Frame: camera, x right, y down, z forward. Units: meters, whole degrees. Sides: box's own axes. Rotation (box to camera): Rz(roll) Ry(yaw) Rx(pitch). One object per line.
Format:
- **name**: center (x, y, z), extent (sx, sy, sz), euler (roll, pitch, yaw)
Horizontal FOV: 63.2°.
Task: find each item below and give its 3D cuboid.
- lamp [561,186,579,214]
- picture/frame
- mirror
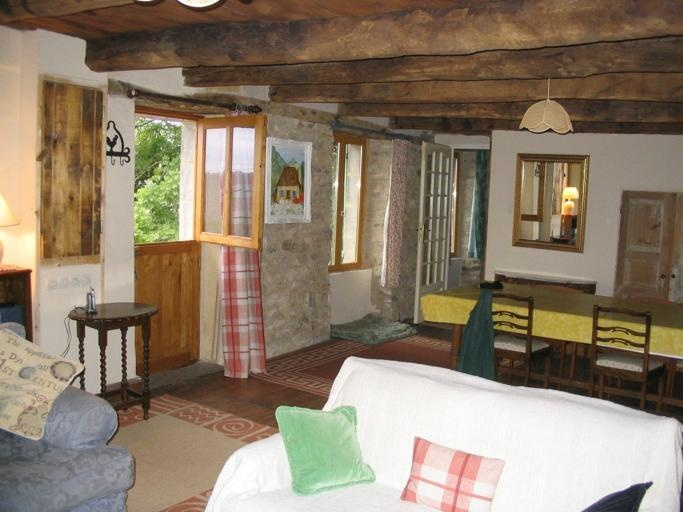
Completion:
- **lamp**: center (2.942, -0.712, 7.091), extent (0.282, 0.355, 0.286), euler (1, 0, 39)
- **picture/frame**: center (-0.606, -0.859, 6.171), extent (0.047, 1.061, 1.011), euler (8, 7, 34)
- **mirror**: center (2.780, -0.729, 7.206), extent (1.219, 1.689, 0.125), euler (5, 7, 38)
